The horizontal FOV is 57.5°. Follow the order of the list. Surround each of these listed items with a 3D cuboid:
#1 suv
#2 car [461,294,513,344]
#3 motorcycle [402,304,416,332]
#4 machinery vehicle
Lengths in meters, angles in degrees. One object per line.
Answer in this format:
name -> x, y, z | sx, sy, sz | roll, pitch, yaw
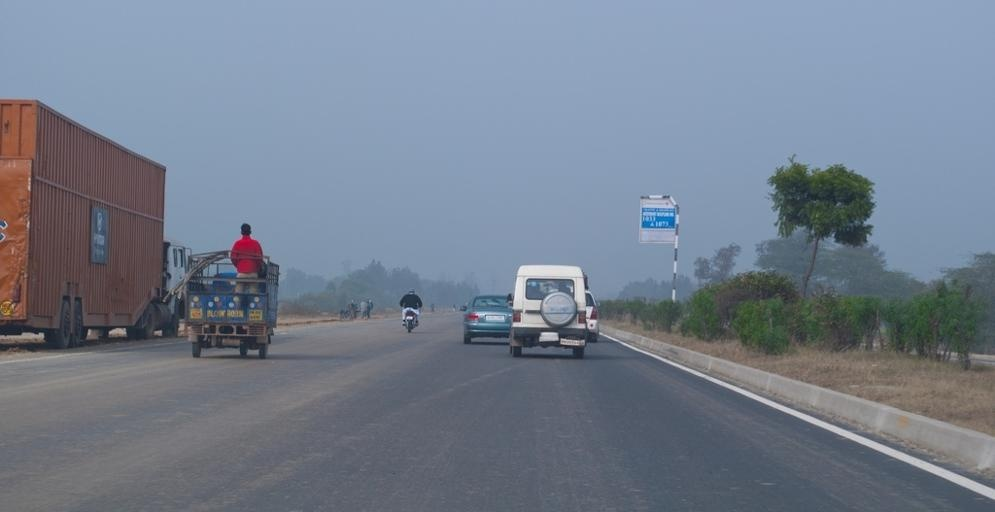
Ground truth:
suv -> 1.906, 2.071, 32.391 | 3.457, 3.179, 6.069 | 1, 1, 1
car -> -0.502, 2.916, 39.745 | 1.983, 2.066, 2.277 | 0, 11, -4
motorcycle -> -4.735, 3.501, 48.714 | 0.684, 1.586, 1.276 | -1, 11, -6
machinery vehicle -> -9.448, 1.380, 33.557 | 3.412, 3.272, 5.539 | 1, 8, 0
